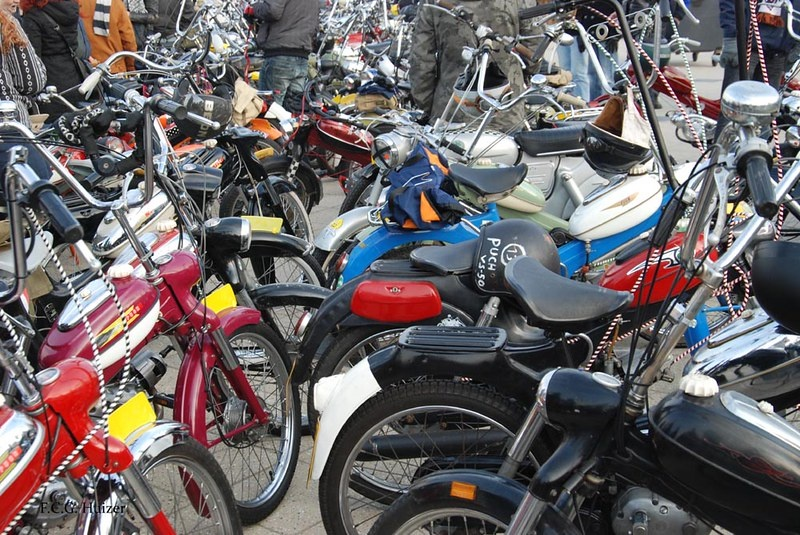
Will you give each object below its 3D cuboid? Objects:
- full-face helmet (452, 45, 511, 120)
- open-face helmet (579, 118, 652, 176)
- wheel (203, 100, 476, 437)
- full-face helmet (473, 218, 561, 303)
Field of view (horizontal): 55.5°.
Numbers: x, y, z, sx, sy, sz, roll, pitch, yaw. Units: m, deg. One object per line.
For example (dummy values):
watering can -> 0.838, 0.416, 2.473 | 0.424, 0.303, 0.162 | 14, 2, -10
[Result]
full-face helmet -> 0.638, -1.361, 5.723 | 0.524, 0.552, 0.432 | -3, 29, -15
open-face helmet -> 1.344, -0.738, 4.722 | 0.328, 0.211, 0.318 | 32, 30, 18
wheel -> -0.780, -0.286, 5.861 | 2.214, 1.482, 1.401 | -4, 23, -38
full-face helmet -> 0.541, -0.055, 3.850 | 0.416, 0.361, 0.322 | 31, 9, 25
